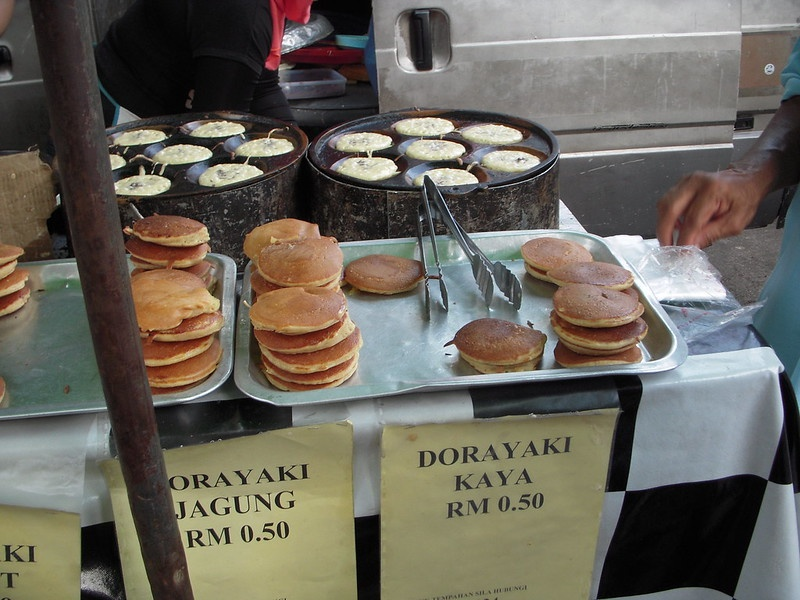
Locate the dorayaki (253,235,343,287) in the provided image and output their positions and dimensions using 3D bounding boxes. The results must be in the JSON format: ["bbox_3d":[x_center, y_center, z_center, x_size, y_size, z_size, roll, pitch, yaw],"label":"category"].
[{"bbox_3d":[-0.217,-0.077,1.468,0.157,0.038,0.114,6,31,7],"label":"dorayaki"}]

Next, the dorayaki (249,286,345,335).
[{"bbox_3d":[-0.203,0.022,1.345,0.138,0.032,0.114,10,28,12],"label":"dorayaki"}]

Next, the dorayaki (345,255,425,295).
[{"bbox_3d":[-0.028,-0.067,1.629,0.141,0.029,0.115,6,21,10],"label":"dorayaki"}]

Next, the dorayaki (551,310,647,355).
[{"bbox_3d":[0.385,0.070,1.393,0.185,0.056,0.089,7,31,15],"label":"dorayaki"}]

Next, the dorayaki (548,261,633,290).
[{"bbox_3d":[0.417,-0.053,1.530,0.125,0.022,0.082,0,18,-13],"label":"dorayaki"}]

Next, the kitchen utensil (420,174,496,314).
[{"bbox_3d":[0.108,-0.141,1.682,0.161,0.075,0.344,-17,70,-13],"label":"kitchen utensil"}]

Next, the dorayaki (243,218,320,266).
[{"bbox_3d":[-0.261,-0.148,1.609,0.137,0.054,0.133,-24,33,-33],"label":"dorayaki"}]

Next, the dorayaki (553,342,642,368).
[{"bbox_3d":[0.387,0.114,1.379,0.089,0.016,0.075,-3,10,-18],"label":"dorayaki"}]

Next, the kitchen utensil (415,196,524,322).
[{"bbox_3d":[0.128,-0.117,1.660,0.239,0.082,0.320,-10,55,-14],"label":"kitchen utensil"}]

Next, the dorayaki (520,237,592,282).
[{"bbox_3d":[0.370,-0.090,1.668,0.150,0.040,0.114,-7,33,-10],"label":"dorayaki"}]
